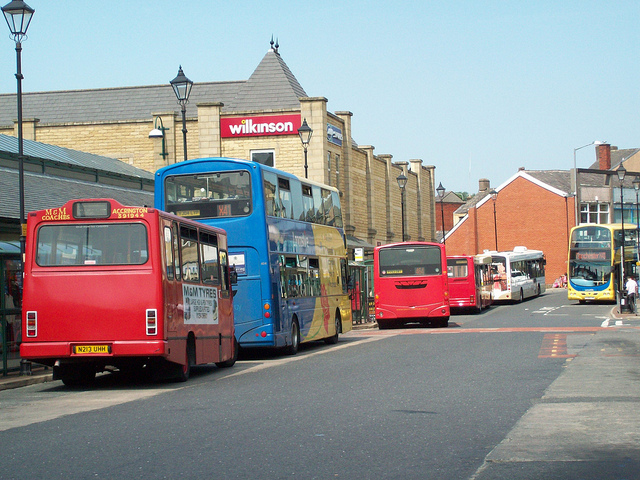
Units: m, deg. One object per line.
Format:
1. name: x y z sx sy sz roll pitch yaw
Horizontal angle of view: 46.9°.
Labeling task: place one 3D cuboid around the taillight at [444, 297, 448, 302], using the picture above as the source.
1. taillight: 5.864 2.760 33.967 0.076 0.152 0.247 -5 -5 35

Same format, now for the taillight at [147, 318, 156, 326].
1. taillight: -3.369 1.674 14.826 0.133 0.139 0.128 2 -12 -20

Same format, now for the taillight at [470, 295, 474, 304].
1. taillight: 9.327 3.675 44.969 0.245 0.540 0.072 -2 -3 -7

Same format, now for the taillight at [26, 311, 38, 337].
1. taillight: -5.883 1.746 15.131 0.244 0.532 0.026 -3 -3 6

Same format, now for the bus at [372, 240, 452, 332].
1. bus: 4.706 0.178 37.916 3.679 4.490 8.264 -2 28 8

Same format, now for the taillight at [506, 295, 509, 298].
1. taillight: 13.766 4.174 53.881 0.154 0.176 0.092 -3 -15 9

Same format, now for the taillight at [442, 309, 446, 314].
1. taillight: 5.735 3.322 33.804 0.152 0.204 0.050 -2 -3 -16

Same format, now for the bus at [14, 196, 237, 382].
1. bus: -4.287 1.321 18.200 3.234 4.051 6.745 -2 -5 4

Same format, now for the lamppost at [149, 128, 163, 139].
1. lamppost: -7.154 -4.615 32.305 0.573 0.606 0.615 -3 0 7

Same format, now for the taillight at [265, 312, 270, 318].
1. taillight: -1.450 2.136 20.742 0.126 0.143 0.022 -4 -3 11

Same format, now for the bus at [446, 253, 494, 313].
1. bus: 10.114 3.031 49.359 2.586 3.758 10.792 -4 -5 18
